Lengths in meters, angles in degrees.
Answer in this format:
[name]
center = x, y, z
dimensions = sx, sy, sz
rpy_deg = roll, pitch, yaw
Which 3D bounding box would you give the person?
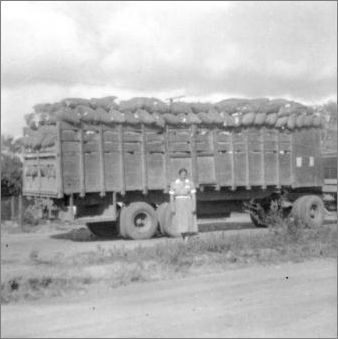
[person]
center = 0.304, 0.797, 12.772
dimensions = 0.533, 1.764, 0.440
rpy_deg = 0, 29, 8
